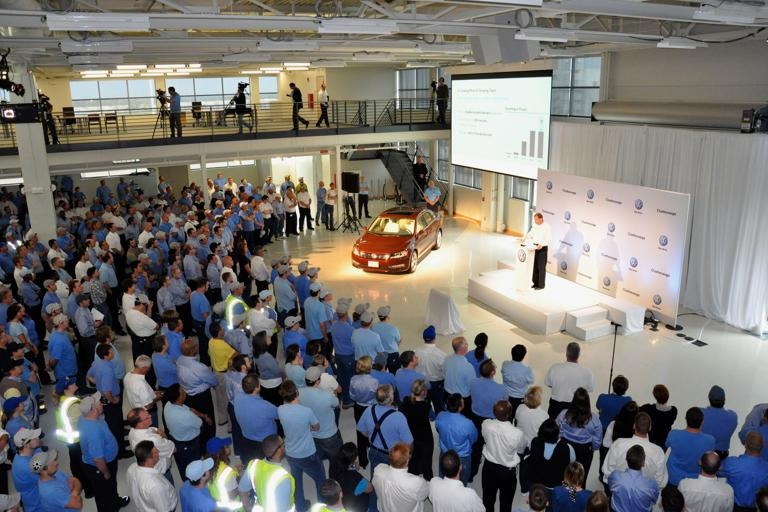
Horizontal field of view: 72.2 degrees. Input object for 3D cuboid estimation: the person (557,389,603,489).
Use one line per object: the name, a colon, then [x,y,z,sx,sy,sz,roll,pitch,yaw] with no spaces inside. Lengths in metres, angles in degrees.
person: [2.777,2.827,7.687,0.627,1.837,0.475,4,17,17]

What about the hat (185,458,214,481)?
hat: [-2.227,2.624,6.453,0.308,0.120,0.211,-25,59,-22]

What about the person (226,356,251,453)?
person: [-2.193,2.354,8.319,0.404,1.342,0.392,-10,19,-34]

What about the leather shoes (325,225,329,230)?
leather shoes: [-2.258,-1.128,21.044,0.168,0.177,0.314,1,-3,0]

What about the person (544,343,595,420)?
person: [2.999,2.359,8.671,0.723,1.871,0.684,5,20,17]

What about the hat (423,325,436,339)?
hat: [0.773,1.314,8.896,0.200,0.295,0.098,8,-1,15]

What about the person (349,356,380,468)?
person: [-0.307,2.550,8.381,0.491,1.872,0.477,-1,8,-4]

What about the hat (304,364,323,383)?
hat: [-1.000,1.730,7.733,0.170,0.219,0.285,5,15,33]

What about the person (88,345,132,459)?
person: [-4.483,2.382,8.782,0.622,1.885,0.644,-12,25,-37]

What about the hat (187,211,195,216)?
hat: [-5.385,-1.180,14.752,0.158,0.086,0.229,7,19,24]

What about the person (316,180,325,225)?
person: [-2.527,-2.075,21.038,0.414,1.787,1.275,-6,13,-10]

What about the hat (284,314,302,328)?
hat: [-1.558,1.161,9.213,0.306,0.164,0.225,-22,39,-19]

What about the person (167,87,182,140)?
person: [-7.526,-5.147,19.044,0.477,1.693,1.559,-8,13,-20]

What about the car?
car: [0.478,-0.569,16.807,1.441,1.053,3.214,3,13,17]

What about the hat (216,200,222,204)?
hat: [-5.073,-1.658,16.305,0.188,0.141,0.208,-9,14,-22]

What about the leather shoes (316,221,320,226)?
leather shoes: [-2.683,-1.300,21.597,0.166,0.128,0.168,6,9,43]

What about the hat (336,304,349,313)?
hat: [-0.746,0.976,9.457,0.217,0.215,0.155,-8,13,-17]

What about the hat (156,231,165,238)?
hat: [-5.639,-0.522,13.365,0.196,0.182,0.303,-7,13,-14]

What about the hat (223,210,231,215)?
hat: [-4.679,-1.311,15.863,0.161,0.086,0.236,6,19,29]

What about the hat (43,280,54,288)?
hat: [-6.737,0.574,10.648,0.149,0.095,0.117,-19,15,13]

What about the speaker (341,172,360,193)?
speaker: [-1.329,-2.849,20.638,0.393,0.774,0.711,-11,17,-43]

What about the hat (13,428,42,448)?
hat: [-4.607,2.358,6.904,0.311,0.182,0.197,-21,30,-37]

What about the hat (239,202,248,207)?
hat: [-4.431,-1.624,16.863,0.186,0.148,0.280,14,30,34]

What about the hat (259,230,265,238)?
hat: [-4.199,-0.763,18.380,0.140,0.176,0.195,-6,16,7]

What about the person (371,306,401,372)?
person: [0.025,1.846,9.628,0.568,1.737,0.462,0,7,3]

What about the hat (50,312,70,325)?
hat: [-5.614,1.102,9.172,0.235,0.145,0.341,-13,16,-35]

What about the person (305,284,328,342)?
person: [-1.339,1.109,10.216,0.484,1.232,0.383,-3,12,4]

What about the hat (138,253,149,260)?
hat: [-5.313,0.035,11.697,0.149,0.141,0.194,-33,25,-34]

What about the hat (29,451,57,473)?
hat: [-4.288,2.609,6.720,0.283,0.146,0.202,-41,38,-19]

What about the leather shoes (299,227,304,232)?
leather shoes: [-3.197,-1.014,20.437,0.160,0.122,0.162,8,12,36]

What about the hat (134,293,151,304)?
hat: [-4.598,0.828,10.054,0.174,0.243,0.240,16,-6,17]

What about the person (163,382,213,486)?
person: [-2.888,2.626,7.793,0.690,1.773,0.566,36,56,6]

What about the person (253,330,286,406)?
person: [-1.922,1.902,8.784,0.516,1.426,0.473,30,59,19]

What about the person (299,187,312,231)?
person: [-3.090,-1.854,20.477,0.496,1.791,0.791,-5,12,-5]

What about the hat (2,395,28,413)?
hat: [-5.301,2.148,7.627,0.286,0.153,0.203,-19,37,-31]

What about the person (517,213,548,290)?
person: [3.879,-0.076,13.625,1.085,1.994,0.375,-14,16,-40]

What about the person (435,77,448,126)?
person: [2.457,-6.542,22.233,0.501,1.998,1.312,-2,13,7]

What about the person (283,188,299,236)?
person: [-3.522,-1.650,19.985,0.519,1.778,0.652,-6,13,-10]
